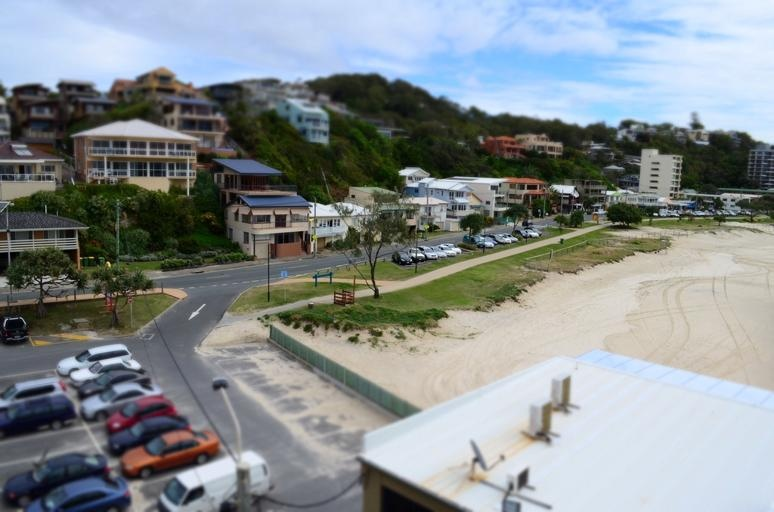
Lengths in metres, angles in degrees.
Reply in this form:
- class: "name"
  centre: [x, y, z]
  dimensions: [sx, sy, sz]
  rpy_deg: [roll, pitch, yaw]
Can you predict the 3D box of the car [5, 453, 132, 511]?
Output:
- class: "car"
  centre: [-16.387, 11.741, 34.509]
  dimensions: [5.991, 1.962, 2.712]
  rpy_deg: [2, 18, -30]
